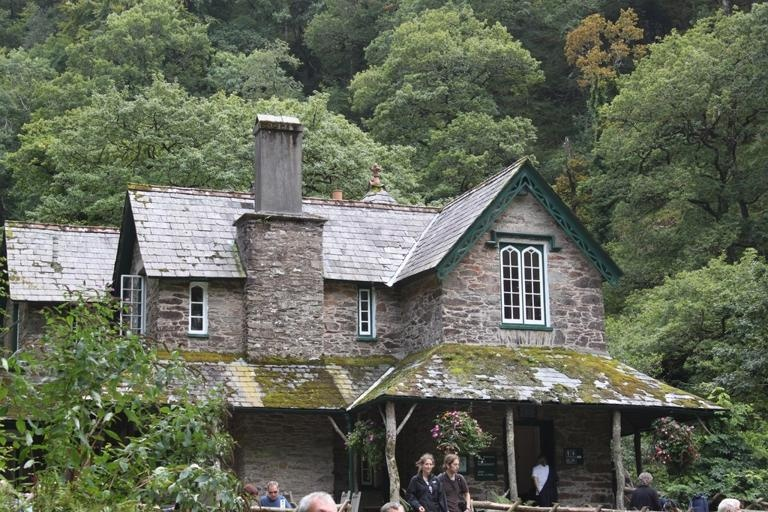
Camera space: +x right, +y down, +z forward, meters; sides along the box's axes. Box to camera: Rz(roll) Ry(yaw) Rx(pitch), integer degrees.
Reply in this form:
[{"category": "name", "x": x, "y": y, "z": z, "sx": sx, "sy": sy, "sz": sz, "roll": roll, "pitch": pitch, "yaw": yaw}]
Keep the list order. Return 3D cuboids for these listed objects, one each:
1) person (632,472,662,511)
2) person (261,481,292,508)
[{"category": "person", "x": 9.443, "y": 8.523, "z": 52.813, "sx": 1.066, "sy": 1.460, "sz": 1.104, "roll": 9, "pitch": 15, "yaw": 11}, {"category": "person", "x": -3.965, "y": 8.760, "z": 54.110, "sx": 1.355, "sy": 1.252, "sz": 0.675, "roll": -1, "pitch": -20, "yaw": -12}]
